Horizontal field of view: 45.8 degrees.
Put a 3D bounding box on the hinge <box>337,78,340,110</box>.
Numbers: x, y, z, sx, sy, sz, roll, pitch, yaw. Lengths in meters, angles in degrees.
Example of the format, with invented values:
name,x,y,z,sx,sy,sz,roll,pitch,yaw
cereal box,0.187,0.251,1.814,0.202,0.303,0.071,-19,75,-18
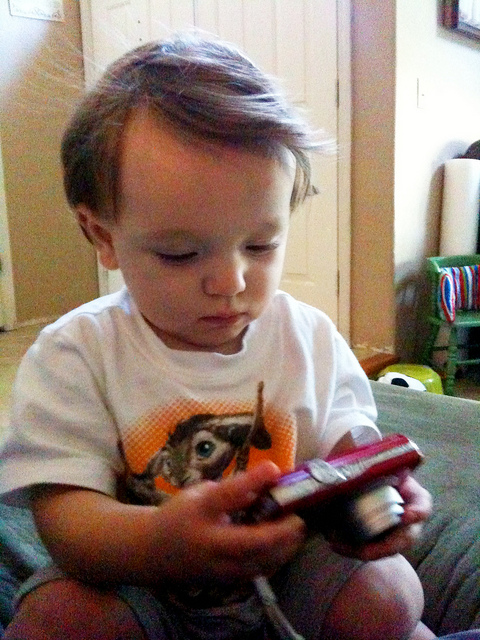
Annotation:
name,x,y,z,sx,sy,sz,roll,pitch,yaw
hinge,0.346,-0.800,2.005,0.007,0.095,0.018,-3,8,5
